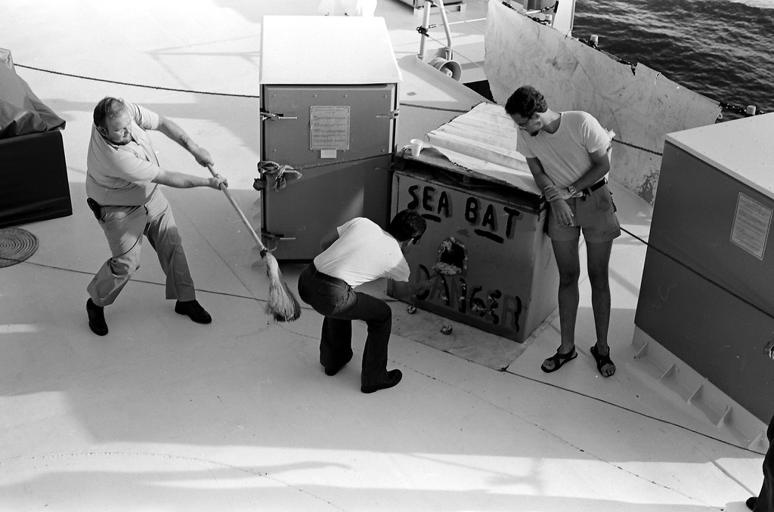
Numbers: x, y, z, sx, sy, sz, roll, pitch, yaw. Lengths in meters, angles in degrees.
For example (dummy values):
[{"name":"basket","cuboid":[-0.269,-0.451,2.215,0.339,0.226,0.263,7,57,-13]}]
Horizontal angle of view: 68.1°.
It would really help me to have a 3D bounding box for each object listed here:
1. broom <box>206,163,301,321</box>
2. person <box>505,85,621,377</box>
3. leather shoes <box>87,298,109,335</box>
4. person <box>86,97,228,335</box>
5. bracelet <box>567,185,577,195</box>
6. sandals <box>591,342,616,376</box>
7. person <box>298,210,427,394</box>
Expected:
[{"name":"broom","cuboid":[-1.019,0.073,4.792,0.464,1.283,0.759,-13,32,-18]},{"name":"person","cuboid":[1.454,-0.175,4.606,1.105,2.215,0.592,19,36,32]},{"name":"leather shoes","cuboid":[-2.506,0.535,4.940,0.092,0.183,0.274,-21,66,-33]},{"name":"person","cuboid":[-1.985,-0.375,4.954,1.174,2.081,0.755,-5,35,-27]},{"name":"bracelet","cuboid":[1.446,-0.505,4.430,0.051,0.074,0.027,-2,10,4]},{"name":"sandals","cuboid":[1.819,0.880,4.845,0.127,0.109,0.299,-15,43,1]},{"name":"person","cuboid":[-0.240,0.340,4.473,0.905,1.478,0.811,6,18,-13]}]
